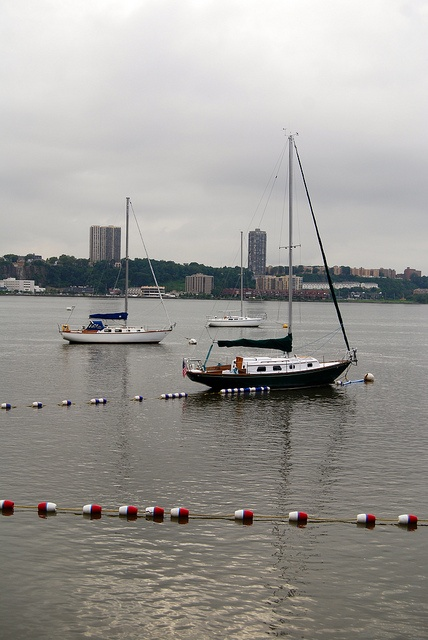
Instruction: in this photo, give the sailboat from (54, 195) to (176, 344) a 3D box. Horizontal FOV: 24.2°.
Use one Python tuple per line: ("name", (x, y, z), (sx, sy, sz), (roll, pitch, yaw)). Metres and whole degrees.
("sailboat", (-9.747, -4.600, 102.043), (10.147, 15.481, 30.583), (-1, 7, -14))
